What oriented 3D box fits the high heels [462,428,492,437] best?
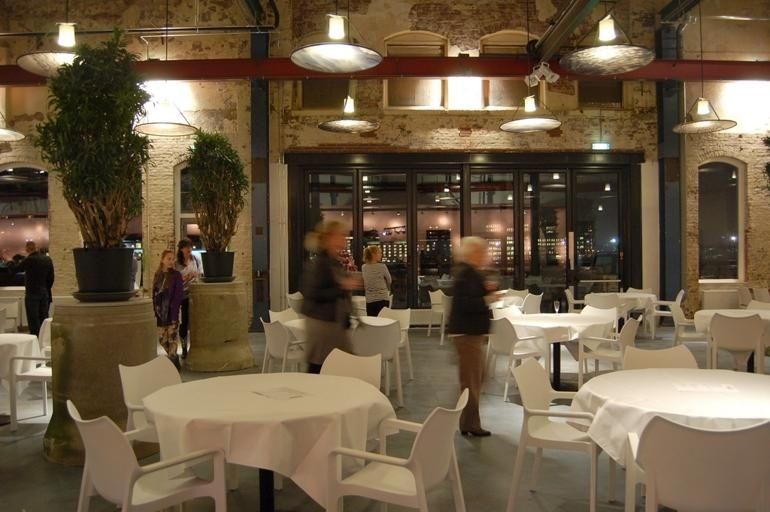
[{"bbox_3d":[1.111,2.182,8.417,0.360,0.146,0.120,-4,-3,-3],"label":"high heels"}]

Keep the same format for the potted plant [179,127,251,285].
[{"bbox_3d":[-2.758,-0.814,11.191,0.909,2.473,0.391,-1,3,-15],"label":"potted plant"}]

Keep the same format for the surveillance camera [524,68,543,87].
[{"bbox_3d":[2.901,-3.395,13.148,0.264,0.371,0.418,-1,15,-17],"label":"surveillance camera"}]
